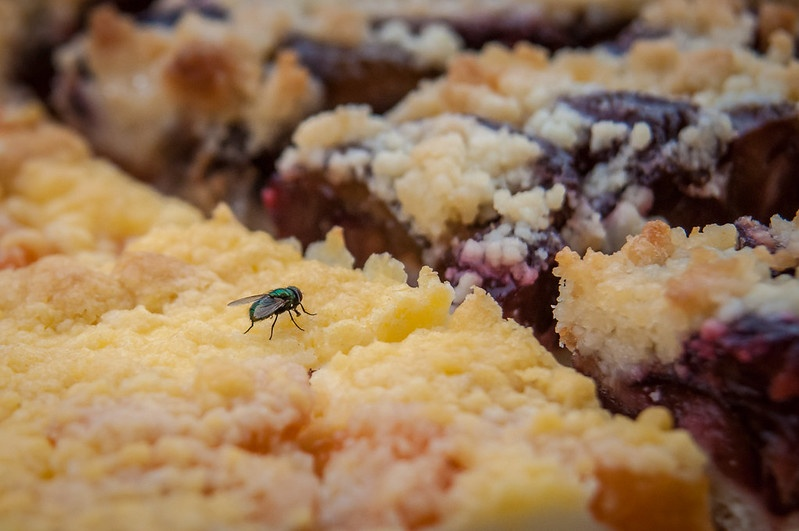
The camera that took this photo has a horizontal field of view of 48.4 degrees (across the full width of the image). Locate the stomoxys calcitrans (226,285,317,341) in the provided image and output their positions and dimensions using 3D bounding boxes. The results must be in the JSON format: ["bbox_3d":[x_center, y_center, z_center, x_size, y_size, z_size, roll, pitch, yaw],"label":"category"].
[{"bbox_3d":[-0.218,0.076,1.597,0.123,0.058,0.094,-17,-6,32],"label":"stomoxys calcitrans"}]
